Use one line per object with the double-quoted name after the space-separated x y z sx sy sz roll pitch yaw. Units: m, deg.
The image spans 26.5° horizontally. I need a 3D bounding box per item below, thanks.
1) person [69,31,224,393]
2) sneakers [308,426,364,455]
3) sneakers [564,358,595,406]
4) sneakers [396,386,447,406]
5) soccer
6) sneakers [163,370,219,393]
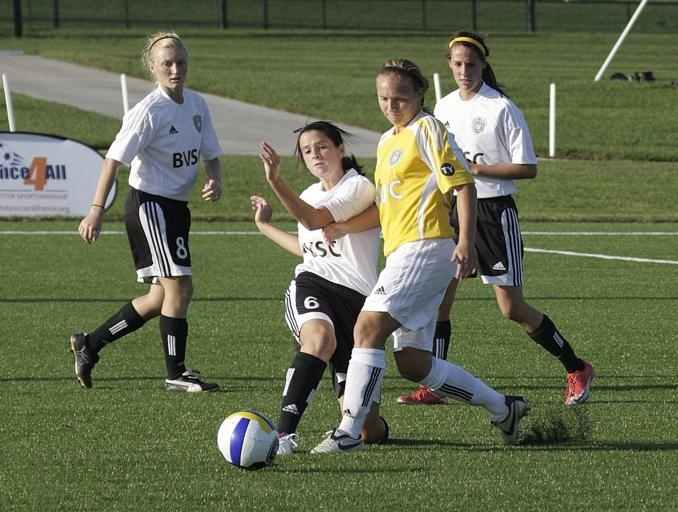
-2.121 -0.503 16.165 1.559 3.899 1.178 1 13 -5 "person"
-0.003 1.938 14.768 0.644 0.282 0.219 -1 -3 -5 "sneakers"
2.639 1.422 15.903 0.200 0.563 0.264 0 -36 48 "sneakers"
0.905 1.615 15.951 0.548 0.241 0.219 6 -24 -1 "sneakers"
-0.920 1.971 14.849 0.704 0.681 0.673 12 -7 3 "soccer"
-1.642 1.423 16.040 0.594 0.262 0.241 1 -3 3 "sneakers"
